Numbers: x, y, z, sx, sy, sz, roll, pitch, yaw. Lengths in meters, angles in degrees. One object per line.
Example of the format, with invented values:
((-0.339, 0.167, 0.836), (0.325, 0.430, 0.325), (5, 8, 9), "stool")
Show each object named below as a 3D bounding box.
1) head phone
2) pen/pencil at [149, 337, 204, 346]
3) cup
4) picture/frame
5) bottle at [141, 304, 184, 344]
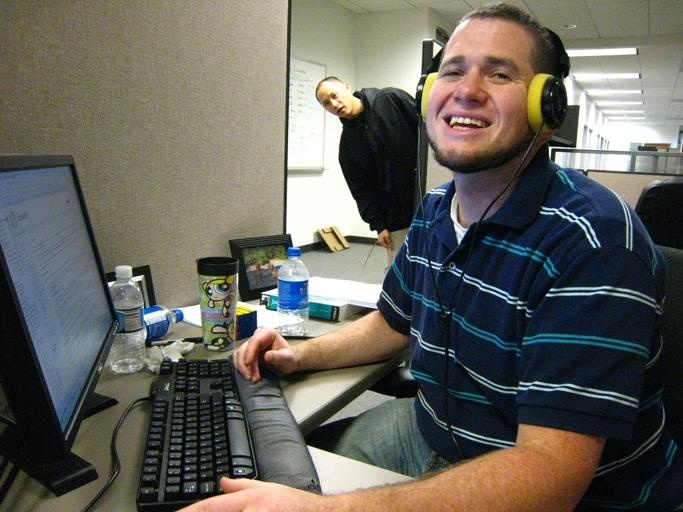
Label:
((0.359, -0.350, 1.043), (0.078, 0.179, 0.205), (-7, 8, -28), "head phone")
((-0.398, 0.205, 1.243), (0.132, 0.015, 0.014), (-2, -22, -16), "pen/pencil")
((-0.293, 0.118, 1.251), (0.139, 0.209, 0.141), (-3, 1, 0), "cup")
((-0.251, 0.039, 1.567), (0.015, 0.131, 0.184), (-4, 14, 30), "picture/frame")
((-0.440, 0.170, 1.264), (0.047, 0.047, 0.120), (28, 10, 14), "bottle")
